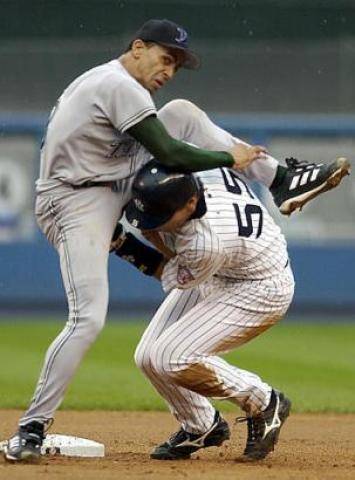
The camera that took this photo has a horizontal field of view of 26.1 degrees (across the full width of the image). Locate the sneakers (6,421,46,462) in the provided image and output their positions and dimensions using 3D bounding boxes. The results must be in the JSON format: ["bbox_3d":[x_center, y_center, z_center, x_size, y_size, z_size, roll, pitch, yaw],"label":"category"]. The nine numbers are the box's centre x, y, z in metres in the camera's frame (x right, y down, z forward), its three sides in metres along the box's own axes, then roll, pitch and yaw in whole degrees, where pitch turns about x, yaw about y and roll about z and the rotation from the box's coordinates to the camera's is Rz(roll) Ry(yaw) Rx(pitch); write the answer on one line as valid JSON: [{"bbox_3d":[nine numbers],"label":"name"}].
[{"bbox_3d":[-0.679,0.900,3.422,0.104,0.093,0.231,14,3,-7],"label":"sneakers"}]

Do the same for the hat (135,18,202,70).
[{"bbox_3d":[-0.066,-0.962,3.653,0.307,0.136,0.218,23,12,9],"label":"hat"}]
